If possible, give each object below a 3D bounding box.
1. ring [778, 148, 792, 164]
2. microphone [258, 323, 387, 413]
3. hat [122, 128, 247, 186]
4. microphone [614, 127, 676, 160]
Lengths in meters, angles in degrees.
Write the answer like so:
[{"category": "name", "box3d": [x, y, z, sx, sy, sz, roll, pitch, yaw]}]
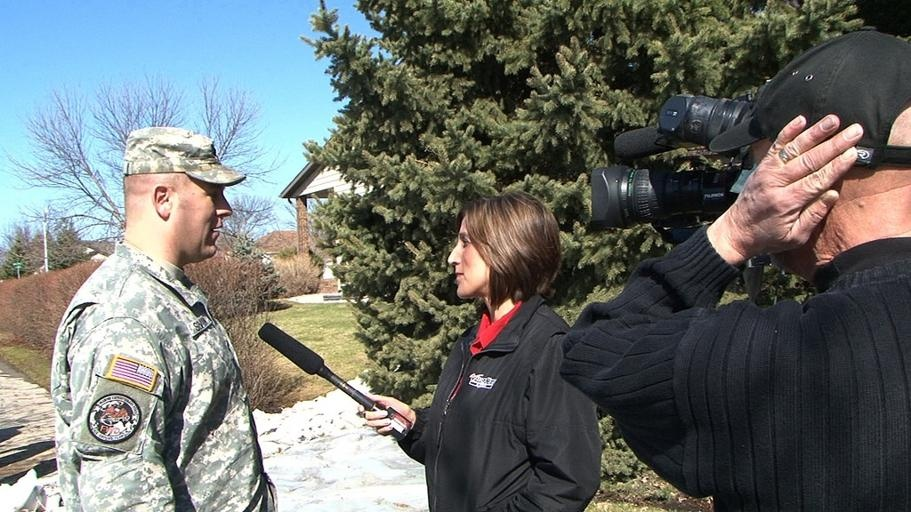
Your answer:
[{"category": "ring", "box3d": [1.246, -0.377, 2.554, 0.038, 0.039, 0.045, 24, 12, -12]}, {"category": "microphone", "box3d": [-0.718, 0.726, 3.988, 1.048, 0.151, 0.156, 34, -11, 2]}, {"category": "hat", "box3d": [-1.586, -0.543, 3.901, 0.658, 0.286, 0.397, 0, -1, -22]}, {"category": "microphone", "box3d": [0.937, -0.538, 3.387, 0.297, 0.112, 0.136, -15, 36, 25]}]
